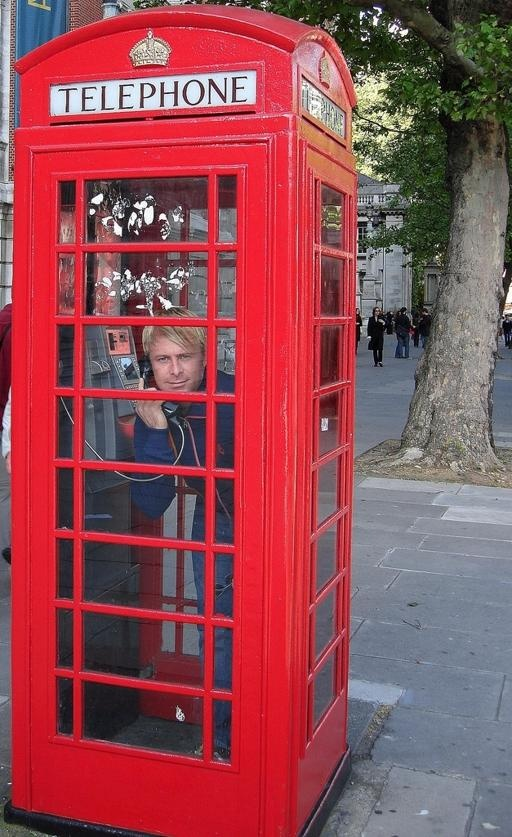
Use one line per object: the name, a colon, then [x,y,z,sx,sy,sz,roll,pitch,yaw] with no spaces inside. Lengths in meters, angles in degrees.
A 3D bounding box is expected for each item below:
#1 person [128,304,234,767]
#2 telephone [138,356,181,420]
person: [-0.191,0.308,2.150,0.335,1.194,0.093,1,3,26]
telephone: [-0.262,-0.085,2.154,0.111,0.171,0.054,12,17,23]
